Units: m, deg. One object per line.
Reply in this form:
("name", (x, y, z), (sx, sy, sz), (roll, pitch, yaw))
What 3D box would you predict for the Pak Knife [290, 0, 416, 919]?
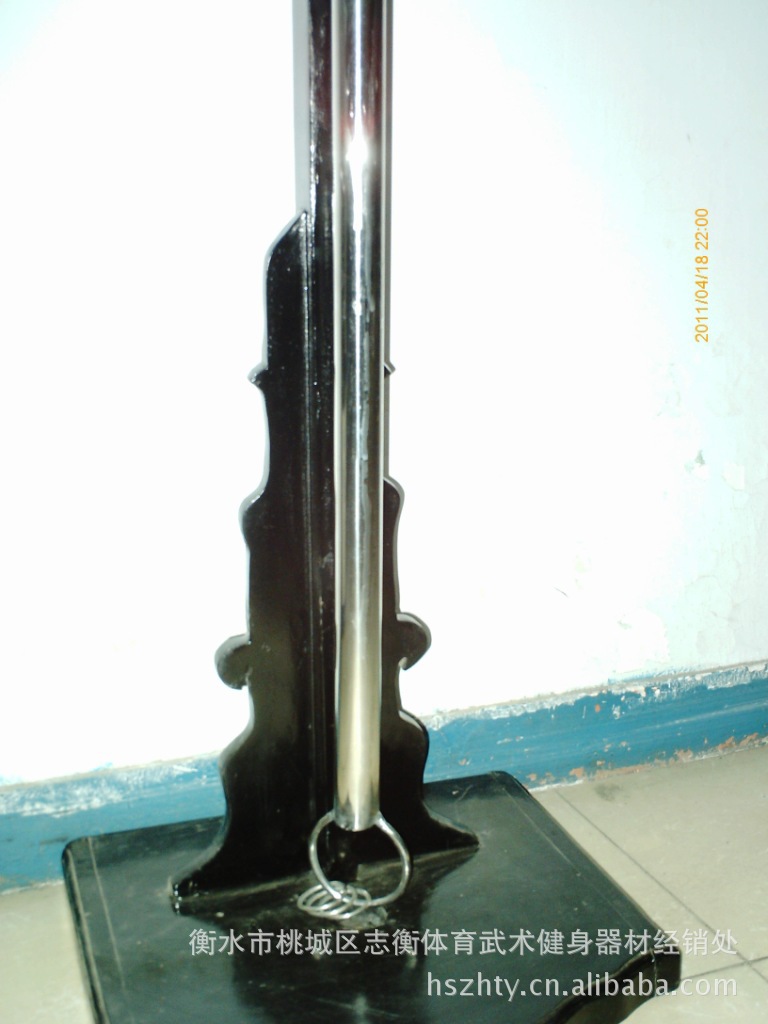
("Pak Knife", (-0.023, -0.042, 0.756), (0.087, 0.708, 0.243), (1, 8, -2))
